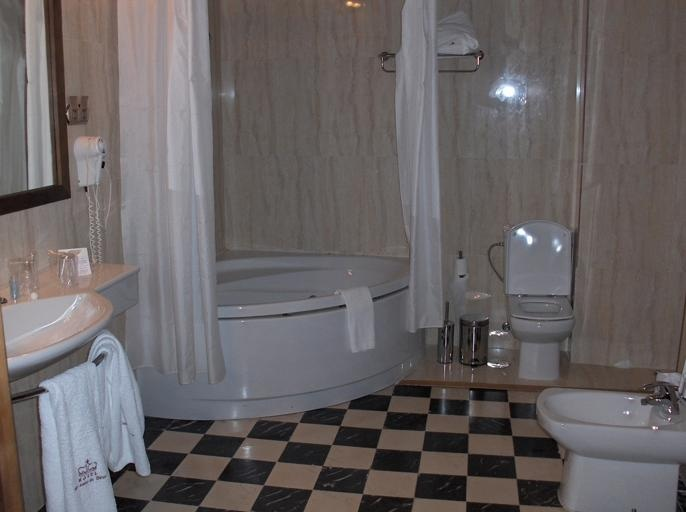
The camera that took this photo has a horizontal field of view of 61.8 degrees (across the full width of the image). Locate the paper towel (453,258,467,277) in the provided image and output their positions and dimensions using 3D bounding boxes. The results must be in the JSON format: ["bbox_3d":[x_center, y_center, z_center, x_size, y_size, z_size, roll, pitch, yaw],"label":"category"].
[{"bbox_3d":[0.826,0.071,4.109,0.102,0.187,0.111,3,10,22],"label":"paper towel"}]

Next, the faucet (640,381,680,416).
[{"bbox_3d":[1.370,0.623,2.503,0.138,0.054,0.115,-2,52,13],"label":"faucet"}]

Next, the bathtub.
[{"bbox_3d":[-0.574,0.480,3.977,1.413,0.909,1.890,11,11,38],"label":"bathtub"}]

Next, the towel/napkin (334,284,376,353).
[{"bbox_3d":[0.096,0.369,3.360,0.216,0.388,0.111,-3,4,-19],"label":"towel/napkin"}]

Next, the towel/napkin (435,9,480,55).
[{"bbox_3d":[0.679,-1.397,3.749,0.310,0.327,0.348,6,13,1],"label":"towel/napkin"}]

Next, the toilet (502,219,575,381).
[{"bbox_3d":[1.312,0.312,3.827,0.408,1.019,0.587,0,14,12],"label":"toilet"}]

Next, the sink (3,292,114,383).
[{"bbox_3d":[-1.053,0.282,2.153,0.387,0.191,0.467,-13,18,-31],"label":"sink"}]

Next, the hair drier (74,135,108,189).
[{"bbox_3d":[-1.224,-0.453,2.760,0.132,0.228,0.121,6,13,7],"label":"hair drier"}]
